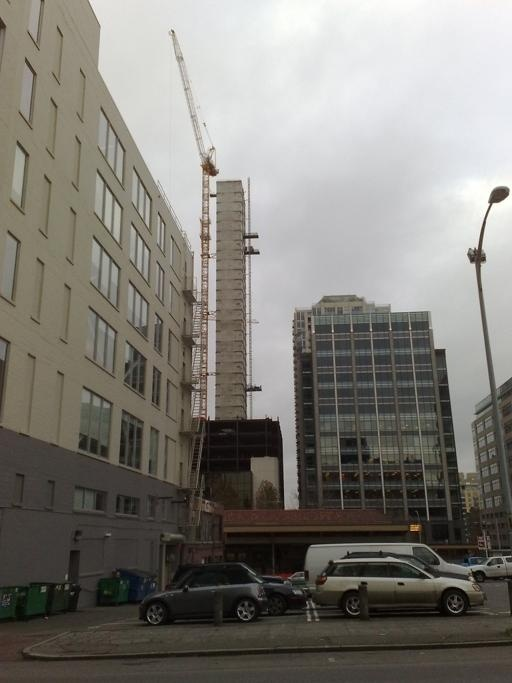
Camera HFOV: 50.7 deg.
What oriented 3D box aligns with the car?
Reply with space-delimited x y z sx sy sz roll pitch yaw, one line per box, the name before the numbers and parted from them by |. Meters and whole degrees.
car | -1.043 6.796 14.506 4.176 1.481 2.484 0 -20 4
